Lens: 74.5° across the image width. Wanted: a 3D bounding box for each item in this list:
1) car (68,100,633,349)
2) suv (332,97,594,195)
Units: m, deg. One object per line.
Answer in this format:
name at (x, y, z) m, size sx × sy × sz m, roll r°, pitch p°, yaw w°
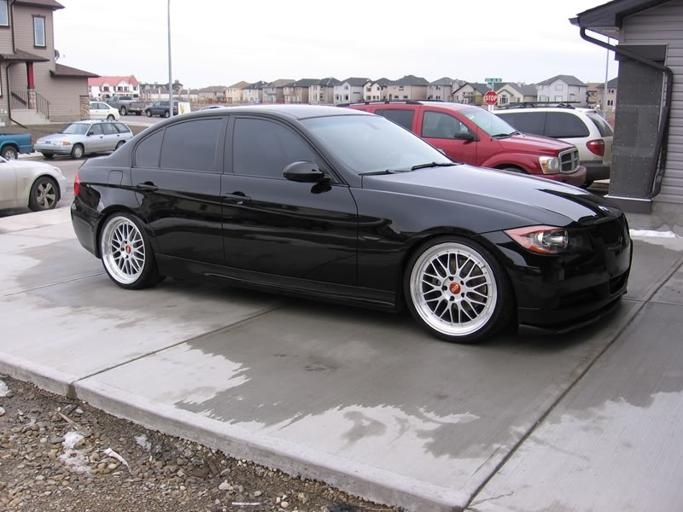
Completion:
car at (-0.320, -0.604, 5.104) m, size 6.254 × 2.182 × 1.849 m, roll 5°, pitch 16°, yaw 25°
suv at (2.435, -2.656, 10.696) m, size 5.998 × 1.706 × 2.331 m, roll 3°, pitch 13°, yaw 18°
